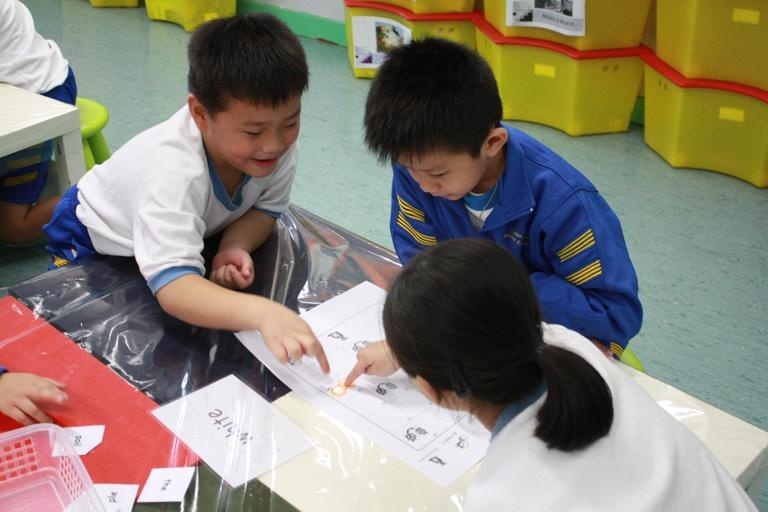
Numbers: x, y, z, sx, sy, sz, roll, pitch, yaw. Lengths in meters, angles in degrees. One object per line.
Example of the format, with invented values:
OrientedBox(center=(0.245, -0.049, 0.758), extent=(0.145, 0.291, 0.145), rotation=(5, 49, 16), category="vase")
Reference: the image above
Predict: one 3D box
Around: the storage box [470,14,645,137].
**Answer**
OrientedBox(center=(0.791, -0.847, 2.610), extent=(0.621, 0.344, 0.689), rotation=(-28, 41, -36), category="storage box")
